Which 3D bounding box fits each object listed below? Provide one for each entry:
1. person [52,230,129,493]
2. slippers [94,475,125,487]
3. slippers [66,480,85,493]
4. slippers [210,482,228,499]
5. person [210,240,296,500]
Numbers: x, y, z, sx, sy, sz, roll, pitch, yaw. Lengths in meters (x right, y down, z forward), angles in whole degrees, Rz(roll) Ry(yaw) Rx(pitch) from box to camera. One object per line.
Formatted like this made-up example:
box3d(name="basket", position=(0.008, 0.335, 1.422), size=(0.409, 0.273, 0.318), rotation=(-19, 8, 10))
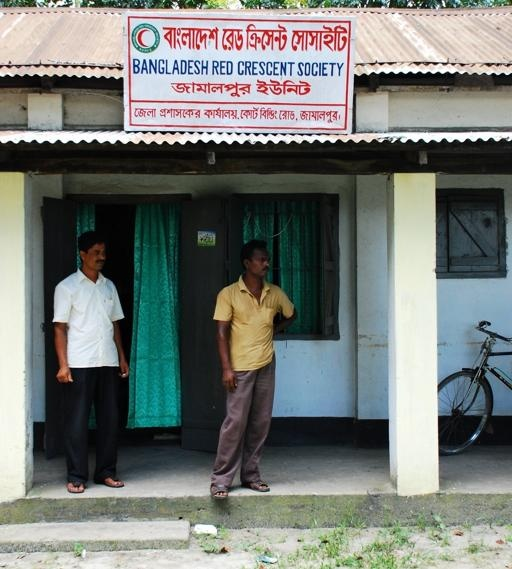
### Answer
box3d(name="person", position=(-1.271, 0.569, 6.360), size=(0.597, 1.306, 0.366), rotation=(-3, 2, -30))
box3d(name="slippers", position=(-1.152, 1.509, 6.338), size=(0.186, 0.054, 0.083), rotation=(-4, -6, 42))
box3d(name="slippers", position=(-1.367, 1.522, 6.162), size=(0.119, 0.054, 0.109), rotation=(-3, 2, -20))
box3d(name="slippers", position=(-0.286, 1.534, 6.117), size=(0.134, 0.115, 0.181), rotation=(-2, 2, -3))
box3d(name="person", position=(-0.068, 0.615, 6.274), size=(0.727, 1.909, 0.342), rotation=(-3, 2, -21))
